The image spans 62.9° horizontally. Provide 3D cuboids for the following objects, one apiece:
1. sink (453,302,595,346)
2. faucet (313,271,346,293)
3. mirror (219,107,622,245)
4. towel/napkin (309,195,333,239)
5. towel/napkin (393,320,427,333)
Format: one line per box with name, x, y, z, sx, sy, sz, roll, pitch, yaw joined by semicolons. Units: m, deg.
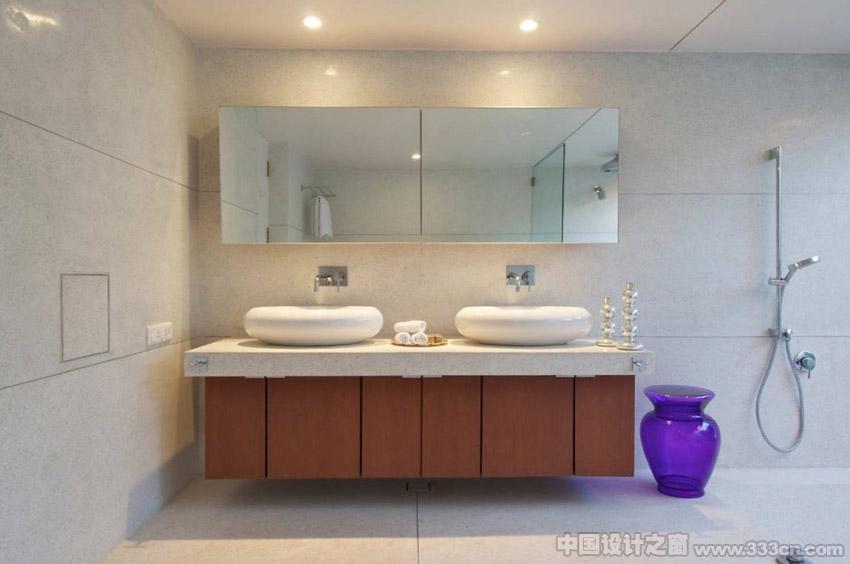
sink;0.565;0.255;3.994;0.770;0.213;0.219;-1;-1;1
faucet;-0.571;0.002;4.270;0.199;0.100;0.054;-1;-1;-12
mirror;-0.026;-0.634;4.169;2.362;0.739;0.066;-1;0;-1
towel/napkin;-0.613;-0.382;4.173;0.121;0.229;0.018;-1;0;0
towel/napkin;-0.083;0.264;4.071;0.148;0.067;0.133;-1;-1;-21
